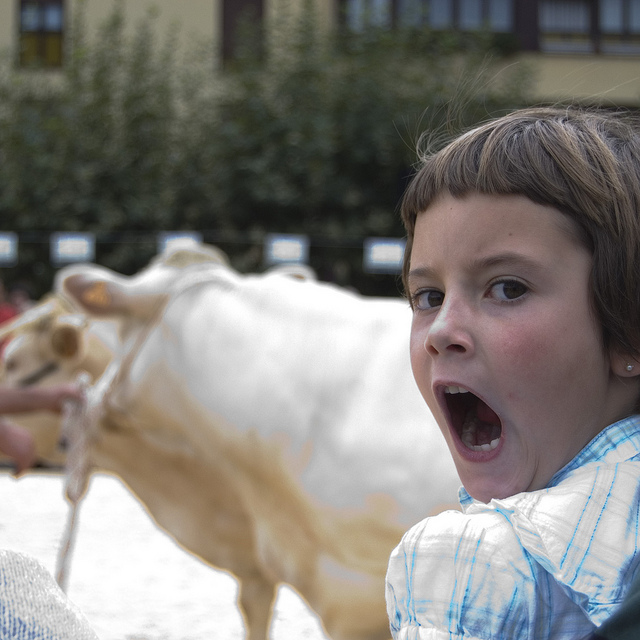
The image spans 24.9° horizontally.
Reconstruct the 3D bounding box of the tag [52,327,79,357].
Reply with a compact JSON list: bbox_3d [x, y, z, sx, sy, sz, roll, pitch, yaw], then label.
[{"bbox_3d":[-0.499,0.041,2.856,0.049,0.055,0.052,-7,9,24],"label":"tag"}]
